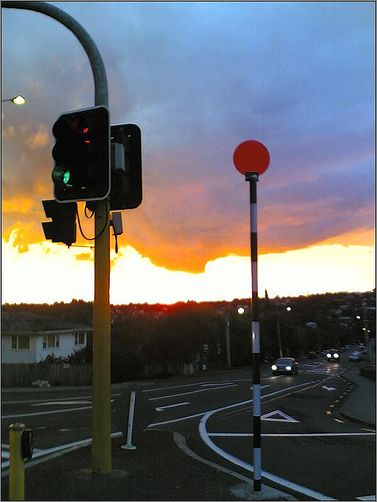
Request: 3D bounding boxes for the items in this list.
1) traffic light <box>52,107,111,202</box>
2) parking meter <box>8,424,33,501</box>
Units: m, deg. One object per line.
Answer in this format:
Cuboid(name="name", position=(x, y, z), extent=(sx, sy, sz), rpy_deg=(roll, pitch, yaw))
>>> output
Cuboid(name="traffic light", position=(-1.112, -0.960, 5.945), extent=(0.626, 0.947, 0.487), rpy_deg=(-4, -8, 20))
Cuboid(name="parking meter", position=(-1.423, 1.774, 4.871), extent=(0.177, 0.630, 0.128), rpy_deg=(0, -5, -16))
